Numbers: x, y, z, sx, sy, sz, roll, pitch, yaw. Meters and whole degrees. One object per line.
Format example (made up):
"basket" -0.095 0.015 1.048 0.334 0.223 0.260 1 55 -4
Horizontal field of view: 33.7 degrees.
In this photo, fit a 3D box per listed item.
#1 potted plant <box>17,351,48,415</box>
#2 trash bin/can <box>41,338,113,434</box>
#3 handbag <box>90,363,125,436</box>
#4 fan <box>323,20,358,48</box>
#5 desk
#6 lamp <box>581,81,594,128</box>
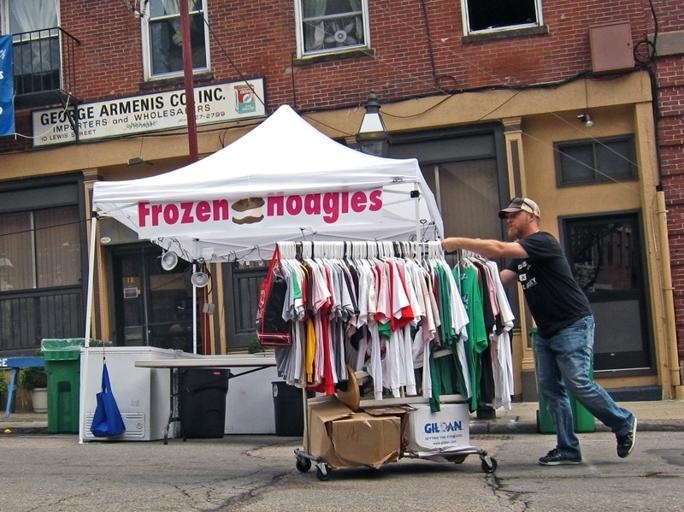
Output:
"potted plant" -5.427 2.226 20.187 0.440 1.236 0.569 1 1 -35
"trash bin/can" -4.208 1.957 17.875 0.977 1.529 0.889 2 0 -9
"handbag" -3.486 2.142 16.633 0.473 0.969 0.379 -9 -4 29
"fan" -0.025 -4.056 20.615 0.506 0.487 0.168 2 -5 16
"desk" -1.825 2.104 16.946 2.505 1.181 1.336 -1 0 12
"lamp" 4.215 -2.627 19.380 0.130 0.759 0.384 -6 -7 12
